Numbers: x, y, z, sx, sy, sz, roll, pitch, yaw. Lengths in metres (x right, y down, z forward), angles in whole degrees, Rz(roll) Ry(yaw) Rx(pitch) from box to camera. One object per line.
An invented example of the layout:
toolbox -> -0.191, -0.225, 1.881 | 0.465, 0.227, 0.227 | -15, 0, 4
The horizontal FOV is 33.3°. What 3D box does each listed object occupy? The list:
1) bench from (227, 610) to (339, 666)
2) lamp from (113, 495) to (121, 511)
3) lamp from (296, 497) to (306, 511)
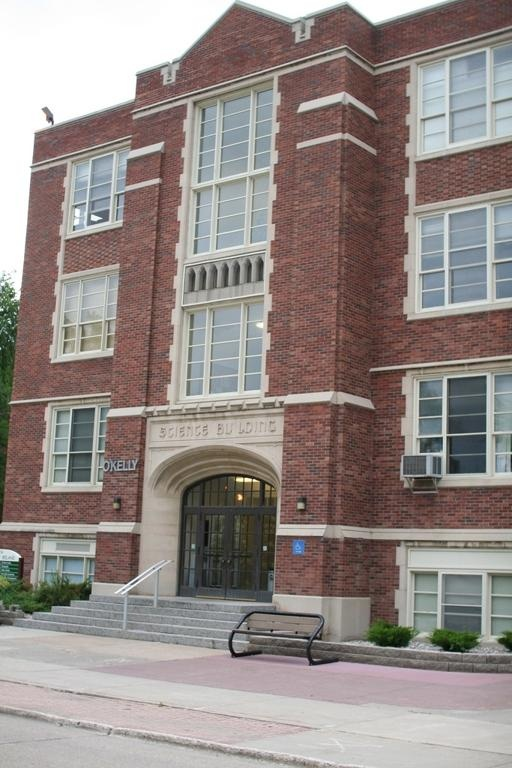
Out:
bench -> 0.402, 4.355, 14.820 | 2.654, 0.795, 1.659 | -9, -18, 39
lamp -> -3.359, 2.887, 20.598 | 0.157, 0.354, 0.232 | 13, -18, -31
lamp -> 0.878, 2.421, 17.207 | 0.166, 0.280, 0.268 | 13, -18, -32
